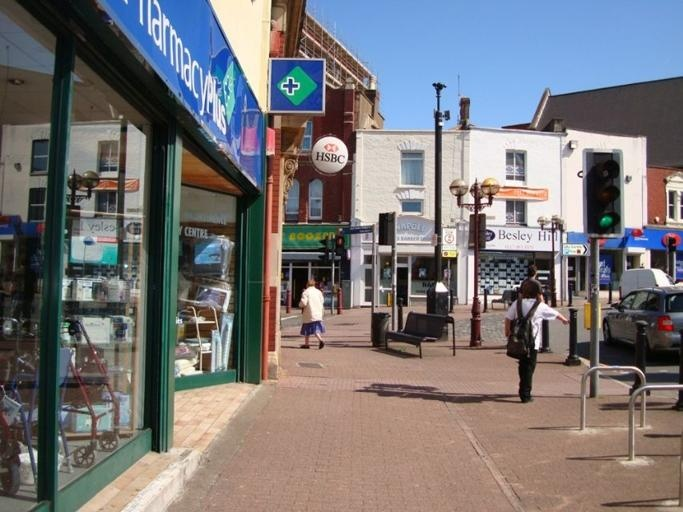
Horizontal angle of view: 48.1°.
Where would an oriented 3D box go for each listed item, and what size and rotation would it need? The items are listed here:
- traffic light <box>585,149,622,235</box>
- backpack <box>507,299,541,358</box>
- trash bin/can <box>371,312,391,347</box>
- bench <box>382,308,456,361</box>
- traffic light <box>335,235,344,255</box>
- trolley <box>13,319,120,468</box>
[{"bbox_3d":[3.835,-0.918,11.254,0.493,1.272,0.267,-1,-3,20],"label":"traffic light"},{"bbox_3d":[2.656,1.072,11.221,0.448,0.855,0.400,0,-3,16],"label":"backpack"},{"bbox_3d":[0.896,1.762,18.296,0.612,1.033,0.614,1,-4,-2],"label":"trash bin/can"},{"bbox_3d":[1.720,1.697,16.430,0.799,0.926,1.974,2,-4,-22],"label":"bench"},{"bbox_3d":[-0.051,-0.335,25.252,0.270,0.612,0.745,0,-3,-1],"label":"traffic light"},{"bbox_3d":[-2.241,1.249,6.773,0.646,1.285,1.020,1,2,-6],"label":"trolley"}]
